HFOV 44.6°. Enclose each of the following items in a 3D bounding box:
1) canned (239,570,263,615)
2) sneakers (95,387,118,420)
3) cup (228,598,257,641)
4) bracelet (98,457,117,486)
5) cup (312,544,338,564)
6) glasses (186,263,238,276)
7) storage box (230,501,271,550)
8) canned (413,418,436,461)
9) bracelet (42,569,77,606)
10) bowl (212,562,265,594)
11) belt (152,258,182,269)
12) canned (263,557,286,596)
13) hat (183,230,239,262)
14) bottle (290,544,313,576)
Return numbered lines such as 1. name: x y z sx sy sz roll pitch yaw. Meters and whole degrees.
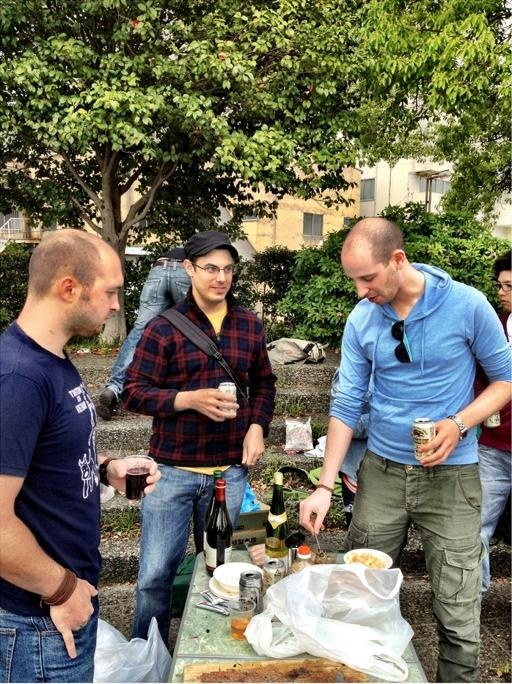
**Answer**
1. canned: -0.019 0.953 2.364 0.139 0.145 0.129 0 3 -5
2. sneakers: -1.453 0.589 6.132 0.174 0.408 0.209 7 18 -4
3. cup: -0.057 1.020 2.317 0.146 0.126 0.136 1 -4 0
4. bracelet: -0.610 0.521 2.501 0.038 0.089 0.085 7 6 15
5. cup: 0.314 0.945 2.821 0.097 0.109 0.122 0 -9 9
6. glasses: -0.216 -0.367 3.177 0.195 0.053 0.124 0 4 -18
7. storage box: -0.039 0.960 3.334 0.351 0.204 0.182 0 1 -17
8. canned: 0.719 0.409 2.631 0.117 0.175 0.089 0 5 -13
9. bracelet: -0.593 0.764 1.941 0.048 0.106 0.097 30 -31 -8
10. bowl: -0.111 0.988 2.629 0.192 0.040 0.190 3 2 0
11. belt: -0.737 -0.662 5.266 0.170 0.049 0.112 3 1 -4
12. canned: 0.075 0.952 2.531 0.123 0.181 0.115 1 2 0
13. hat: -0.232 -0.495 3.209 0.263 0.160 0.225 1 4 -6
14. bottle: 0.197 0.903 2.612 0.093 0.146 0.157 0 0 3
